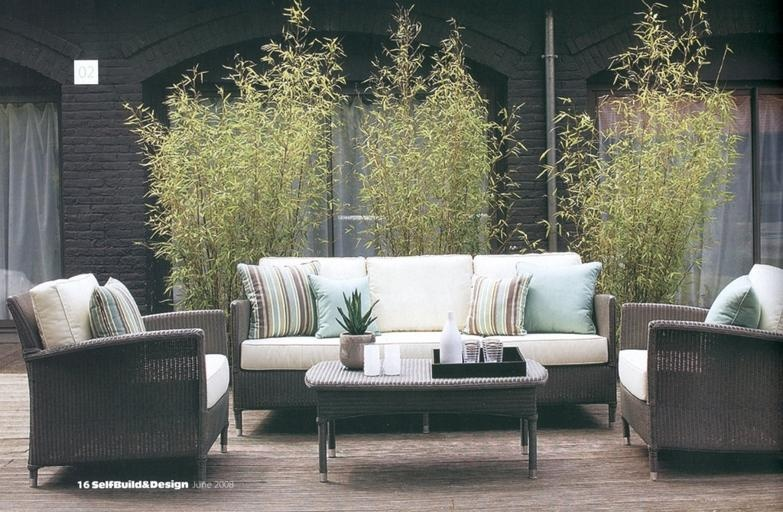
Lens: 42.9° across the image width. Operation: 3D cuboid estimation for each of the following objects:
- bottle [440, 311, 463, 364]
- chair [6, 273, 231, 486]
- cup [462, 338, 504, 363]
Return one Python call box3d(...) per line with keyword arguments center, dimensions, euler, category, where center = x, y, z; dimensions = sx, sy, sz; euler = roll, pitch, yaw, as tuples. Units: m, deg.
box3d(center=(0.452, 0.637, 7.694), dimensions=(0.171, 0.393, 0.149), euler=(-1, 2, 1), category="bottle")
box3d(center=(-2.265, 1.003, 8.367), dimensions=(1.733, 1.725, 1.478), euler=(0, 1, -8), category="chair")
box3d(center=(0.708, 0.749, 7.754), dimensions=(0.288, 0.192, 0.186), euler=(1, 1, 7), category="cup")
